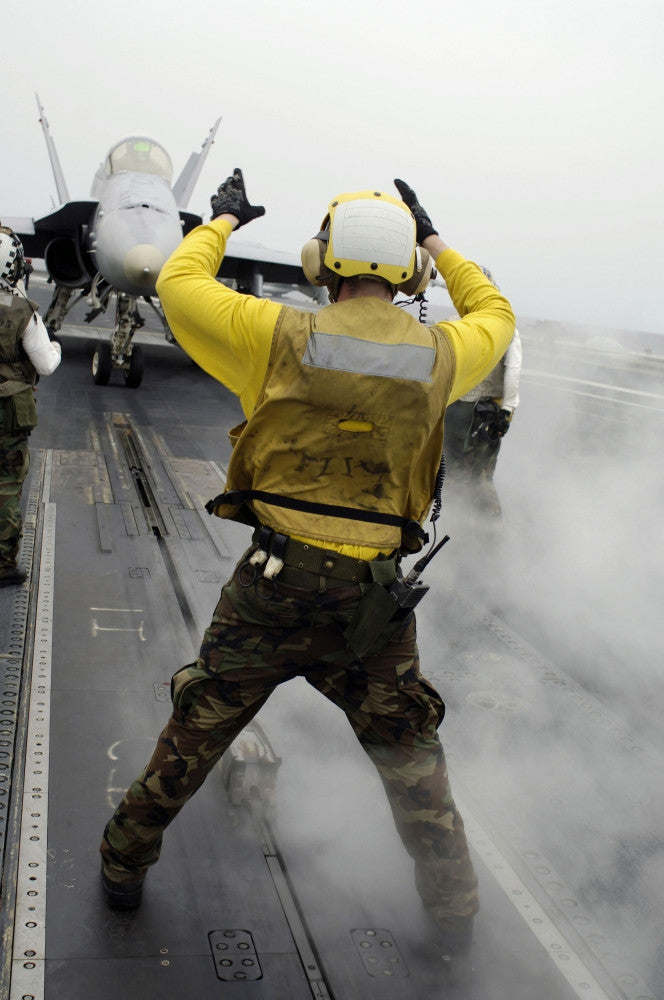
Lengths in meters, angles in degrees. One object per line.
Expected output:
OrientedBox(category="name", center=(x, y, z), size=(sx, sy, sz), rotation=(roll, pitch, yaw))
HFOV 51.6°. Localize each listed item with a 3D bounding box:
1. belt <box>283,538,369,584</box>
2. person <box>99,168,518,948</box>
OrientedBox(category="belt", center=(-0.019, 0.132, 1.432), size=(0.113, 0.028, 0.114), rotation=(12, 2, -12))
OrientedBox(category="person", center=(-0.021, 0.201, 1.639), size=(0.910, 1.759, 0.492), rotation=(7, 12, -11))
